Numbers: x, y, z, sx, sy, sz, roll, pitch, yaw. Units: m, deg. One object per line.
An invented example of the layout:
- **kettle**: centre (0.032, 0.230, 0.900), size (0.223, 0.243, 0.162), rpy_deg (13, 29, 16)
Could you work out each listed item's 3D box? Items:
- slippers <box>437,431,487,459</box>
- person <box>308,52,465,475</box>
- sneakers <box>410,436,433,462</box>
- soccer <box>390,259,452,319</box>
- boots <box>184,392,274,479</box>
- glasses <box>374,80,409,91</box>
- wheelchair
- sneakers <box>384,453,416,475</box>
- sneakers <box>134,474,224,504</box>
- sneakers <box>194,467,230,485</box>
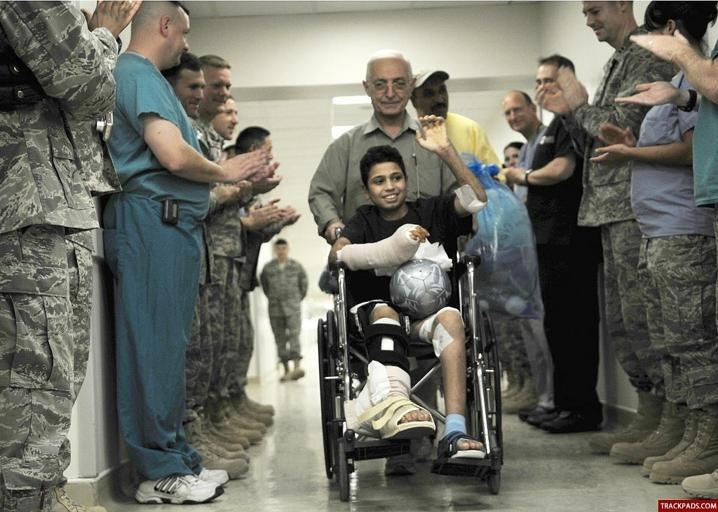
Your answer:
- **slippers**: centre (0.471, 0.872, 3.754), size (0.223, 0.123, 0.157), rpy_deg (-3, 0, 6)
- **person**: centre (0.123, -0.114, 5.325), size (1.014, 2.312, 0.780), rpy_deg (-2, 16, -9)
- **sneakers**: centre (0.401, 1.224, 5.164), size (0.134, 0.206, 0.196), rpy_deg (1, -14, 0)
- **soccer**: centre (0.315, 0.173, 4.183), size (0.325, 0.279, 0.346), rpy_deg (-2, -7, 1)
- **boots**: centre (-0.792, 1.121, 4.778), size (0.366, 0.252, 0.761), rpy_deg (5, 0, -6)
- **glasses**: centre (0.191, -1.048, 5.004), size (0.203, 0.063, 0.038), rpy_deg (-2, 0, 0)
- **wheelchair**: centre (0.236, 0.514, 4.113), size (0.919, 1.353, 0.828), rpy_deg (-3, 0, 7)
- **sneakers**: centre (0.229, 1.165, 4.589), size (0.113, 0.102, 0.246), rpy_deg (0, -3, 1)
- **sneakers**: centre (-0.899, 1.165, 4.149), size (0.457, 0.181, 0.157), rpy_deg (0, 0, -2)
- **sneakers**: centre (-0.778, 1.173, 4.356), size (0.199, 0.073, 0.067), rpy_deg (2, 2, -1)
